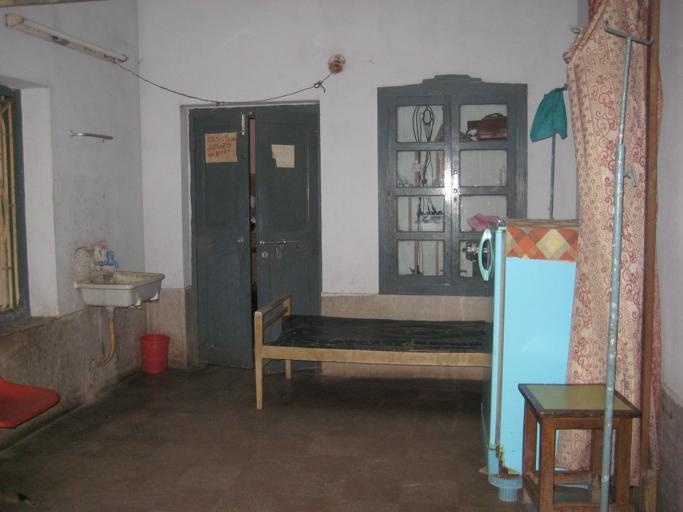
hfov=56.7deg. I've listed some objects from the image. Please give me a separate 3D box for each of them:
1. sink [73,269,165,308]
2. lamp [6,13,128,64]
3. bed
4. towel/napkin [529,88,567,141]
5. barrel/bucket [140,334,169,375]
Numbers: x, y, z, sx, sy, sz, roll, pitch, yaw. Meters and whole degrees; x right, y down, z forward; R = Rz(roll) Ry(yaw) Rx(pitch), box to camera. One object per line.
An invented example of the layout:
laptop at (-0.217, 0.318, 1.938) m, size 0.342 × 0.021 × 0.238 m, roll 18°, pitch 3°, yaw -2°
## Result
sink at (-1.925, 0.310, 5.576) m, size 0.451 × 0.334 × 0.702 m, roll 3°, pitch 14°, yaw 13°
lamp at (-2.199, -1.753, 5.203) m, size 0.134 × 0.146 × 1.216 m, roll 11°, pitch 2°, yaw 25°
bed at (0.243, 0.677, 5.203) m, size 1.740 × 0.732 × 0.939 m, roll 1°, pitch 3°, yaw 9°
towel/napkin at (1.676, -1.143, 5.086) m, size 0.270 × 0.409 × 0.094 m, roll 5°, pitch 14°, yaw 22°
barrel/bucket at (-1.772, 0.924, 6.160) m, size 0.329 × 0.371 × 0.319 m, roll 3°, pitch 11°, yaw 0°
